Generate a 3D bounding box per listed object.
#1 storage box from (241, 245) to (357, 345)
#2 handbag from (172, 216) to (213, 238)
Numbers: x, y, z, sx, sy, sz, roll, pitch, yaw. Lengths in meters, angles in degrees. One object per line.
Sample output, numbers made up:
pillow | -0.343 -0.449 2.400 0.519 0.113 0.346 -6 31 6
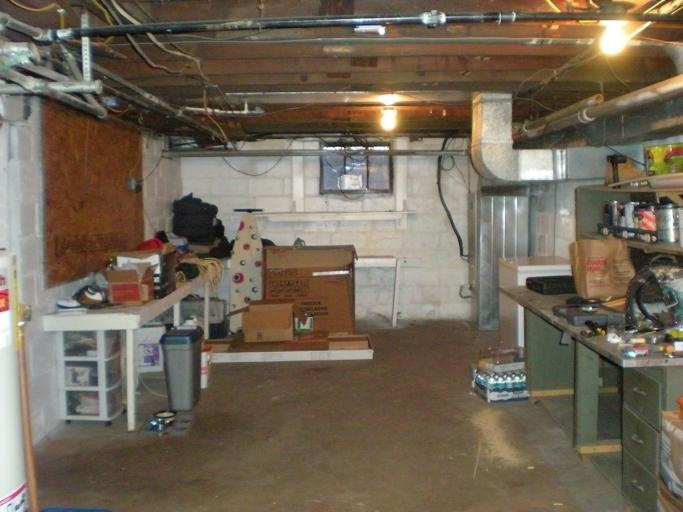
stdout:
storage box | -0.371 0.380 6.903 1.041 0.970 0.490 -1 16 -2
handbag | -1.811 -0.363 7.389 0.489 0.280 0.236 -4 15 -13
